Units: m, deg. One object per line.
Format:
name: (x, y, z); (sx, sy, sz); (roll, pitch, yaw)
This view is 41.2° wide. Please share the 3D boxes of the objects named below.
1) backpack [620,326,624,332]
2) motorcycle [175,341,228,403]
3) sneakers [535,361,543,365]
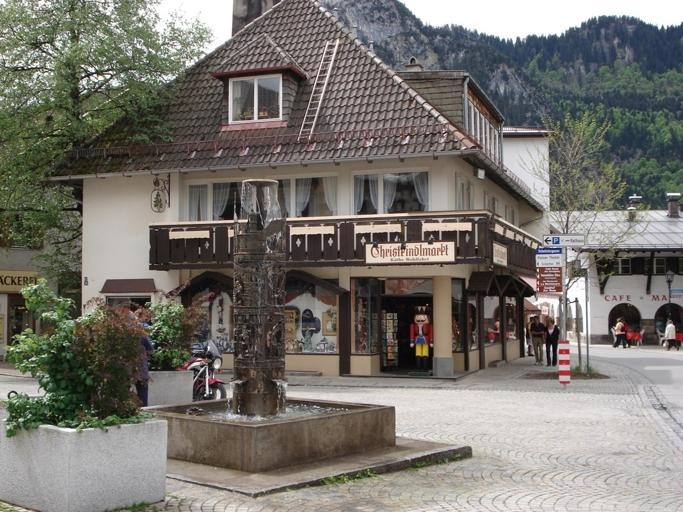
backpack: (16.905, 4.346, 54.082); (0.157, 0.350, 0.831); (-2, -6, 21)
motorcycle: (-3.290, 2.800, 21.947); (1.673, 1.196, 0.882); (-3, -6, 26)
sneakers: (7.897, 4.242, 35.979); (0.134, 0.119, 0.234); (-3, -15, -2)
